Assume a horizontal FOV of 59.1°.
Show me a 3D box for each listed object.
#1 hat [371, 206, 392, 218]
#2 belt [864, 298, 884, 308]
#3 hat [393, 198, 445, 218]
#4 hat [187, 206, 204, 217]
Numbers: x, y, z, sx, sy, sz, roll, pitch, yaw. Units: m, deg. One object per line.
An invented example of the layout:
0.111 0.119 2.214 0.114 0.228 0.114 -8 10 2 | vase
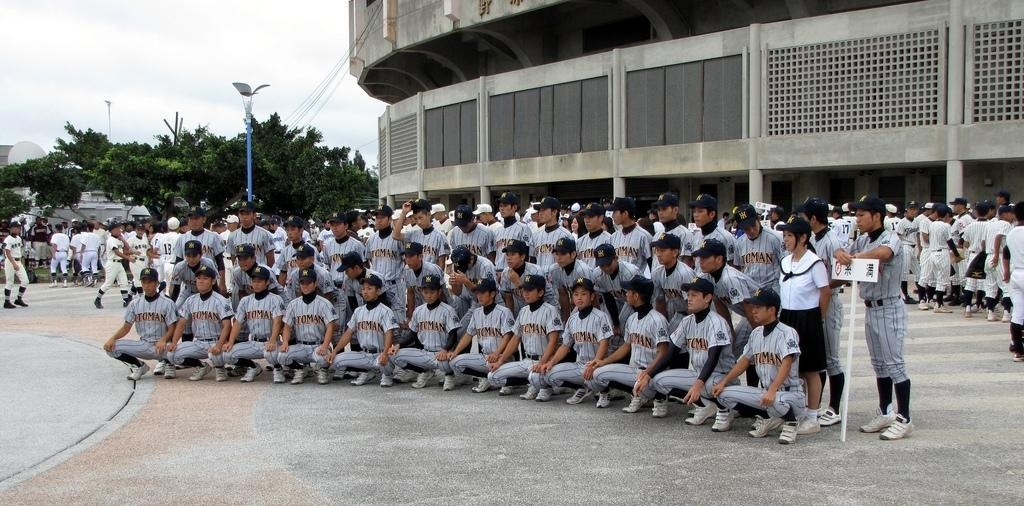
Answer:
-3.621 -1.139 24.841 0.362 0.211 0.478 1 -11 19 | hat
8.363 1.160 20.856 0.390 0.193 0.083 0 2 17 | belt
-2.815 -1.318 28.081 0.861 0.369 1.347 -2 2 42 | hat
-9.149 -1.171 25.732 0.395 0.270 0.492 0 -8 1 | hat
